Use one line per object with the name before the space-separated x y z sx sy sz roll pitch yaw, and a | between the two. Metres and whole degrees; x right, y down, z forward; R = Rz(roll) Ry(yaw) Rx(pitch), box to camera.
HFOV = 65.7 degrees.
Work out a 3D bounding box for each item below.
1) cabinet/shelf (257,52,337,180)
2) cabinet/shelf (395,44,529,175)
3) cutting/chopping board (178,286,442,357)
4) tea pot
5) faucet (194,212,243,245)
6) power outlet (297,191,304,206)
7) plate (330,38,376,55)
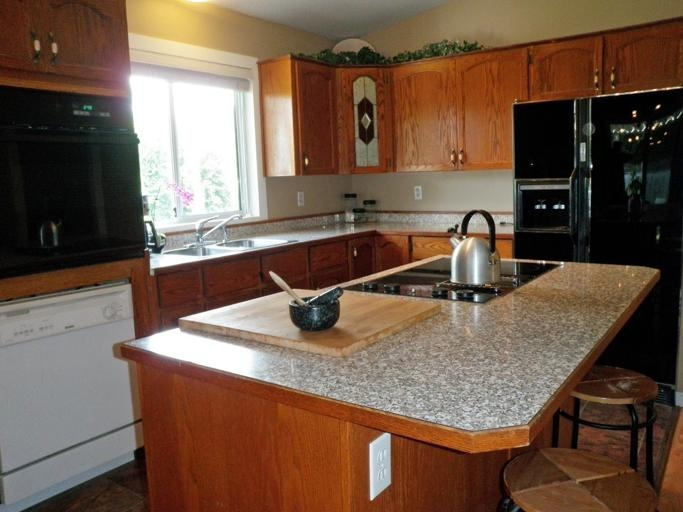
cabinet/shelf | -0.350 -1.108 4.242 0.623 0.896 0.358 -4 11 -4
cabinet/shelf | 1.111 -1.171 4.414 0.522 0.979 1.452 -11 15 -32
cutting/chopping board | -0.077 0.195 1.884 0.708 0.052 0.668 4 12 33
tea pot | 0.566 -0.035 2.272 0.218 0.295 0.250 -3 8 -26
faucet | -0.936 -0.192 3.808 0.391 0.188 0.188 1 11 10
power outlet | -0.367 -0.506 4.734 0.017 0.139 0.084 3 13 30
plate | 0.083 -1.949 4.893 0.247 0.177 0.380 -11 13 -37
